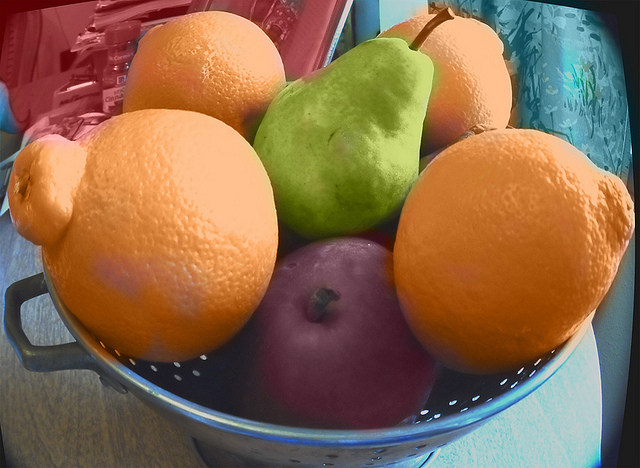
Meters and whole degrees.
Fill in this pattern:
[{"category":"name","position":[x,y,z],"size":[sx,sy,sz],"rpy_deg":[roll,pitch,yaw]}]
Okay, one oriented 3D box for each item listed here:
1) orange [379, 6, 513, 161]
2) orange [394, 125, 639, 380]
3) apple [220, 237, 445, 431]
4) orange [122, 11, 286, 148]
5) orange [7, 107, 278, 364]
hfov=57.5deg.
[{"category":"orange","position":[0.135,-0.135,0.572],"size":[0.113,0.173,0.121],"rpy_deg":[-10,26,-22]},{"category":"orange","position":[0.134,0.017,0.465],"size":[0.174,0.138,0.138],"rpy_deg":[-44,32,2]},{"category":"apple","position":[0.010,0.081,0.504],"size":[0.116,0.163,0.156],"rpy_deg":[4,68,12]},{"category":"orange","position":[-0.107,-0.152,0.530],"size":[0.096,0.116,0.138],"rpy_deg":[22,35,38]},{"category":"orange","position":[-0.120,-0.016,0.489],"size":[0.148,0.210,0.164],"rpy_deg":[-5,18,6]}]
